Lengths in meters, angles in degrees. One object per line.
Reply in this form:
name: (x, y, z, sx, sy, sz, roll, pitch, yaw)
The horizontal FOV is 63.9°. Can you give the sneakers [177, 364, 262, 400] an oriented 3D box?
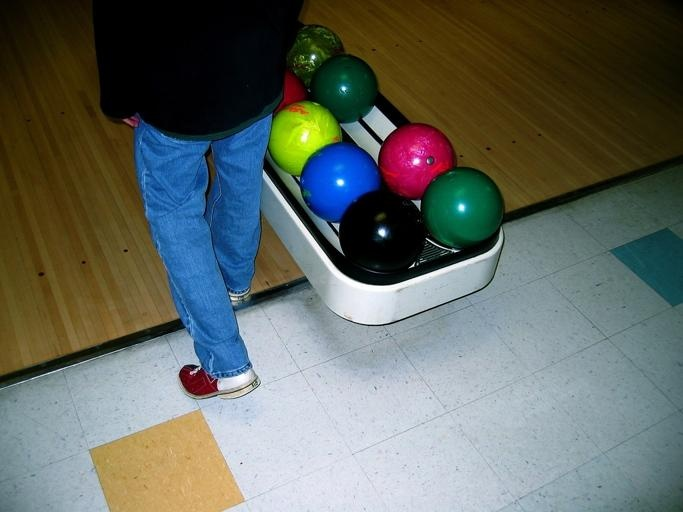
sneakers: (-0.510, 0.515, 2.287, 0.297, 0.141, 0.150, 5, 91, 8)
